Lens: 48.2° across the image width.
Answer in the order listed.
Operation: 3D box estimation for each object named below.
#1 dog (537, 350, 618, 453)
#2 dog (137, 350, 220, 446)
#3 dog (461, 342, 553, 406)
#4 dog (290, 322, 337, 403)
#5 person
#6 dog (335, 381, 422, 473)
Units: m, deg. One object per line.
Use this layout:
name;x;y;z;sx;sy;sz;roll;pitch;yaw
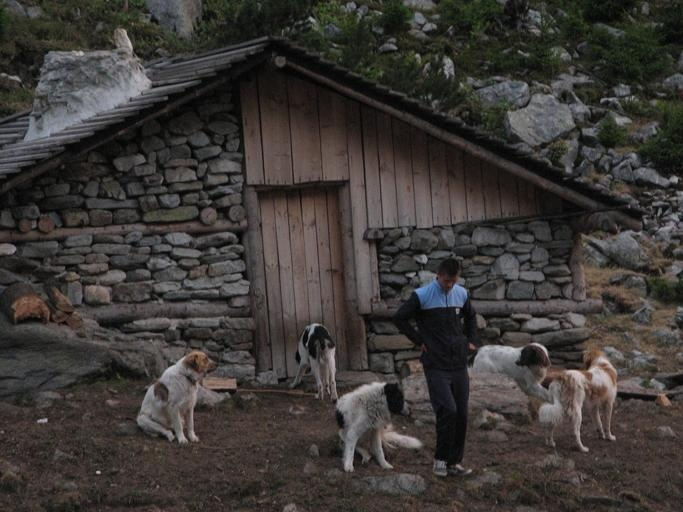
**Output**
dog;4.211;2.425;13.140;1.849;1.582;0.590;-8;4;-32
dog;-2.834;2.333;12.923;1.239;1.519;0.927;0;-8;26
dog;3.387;2.108;14.738;1.671;1.185;0.889;5;13;26
dog;-0.464;2.008;14.811;0.535;1.372;1.031;-1;3;-25
person;1.597;1.717;12.058;1.163;3.357;0.620;1;3;3
dog;0.533;2.700;12.451;1.308;1.439;1.179;1;-6;12
